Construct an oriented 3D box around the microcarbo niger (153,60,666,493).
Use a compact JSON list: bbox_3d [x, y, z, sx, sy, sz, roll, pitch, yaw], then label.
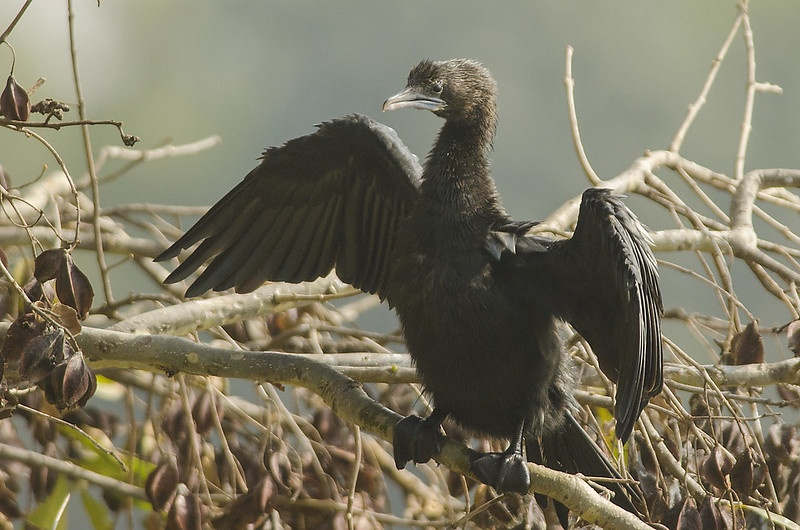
[{"bbox_3d":[0.143,0.033,5.358,1.827,1.591,0.757,6,-26,16],"label":"microcarbo niger"}]
